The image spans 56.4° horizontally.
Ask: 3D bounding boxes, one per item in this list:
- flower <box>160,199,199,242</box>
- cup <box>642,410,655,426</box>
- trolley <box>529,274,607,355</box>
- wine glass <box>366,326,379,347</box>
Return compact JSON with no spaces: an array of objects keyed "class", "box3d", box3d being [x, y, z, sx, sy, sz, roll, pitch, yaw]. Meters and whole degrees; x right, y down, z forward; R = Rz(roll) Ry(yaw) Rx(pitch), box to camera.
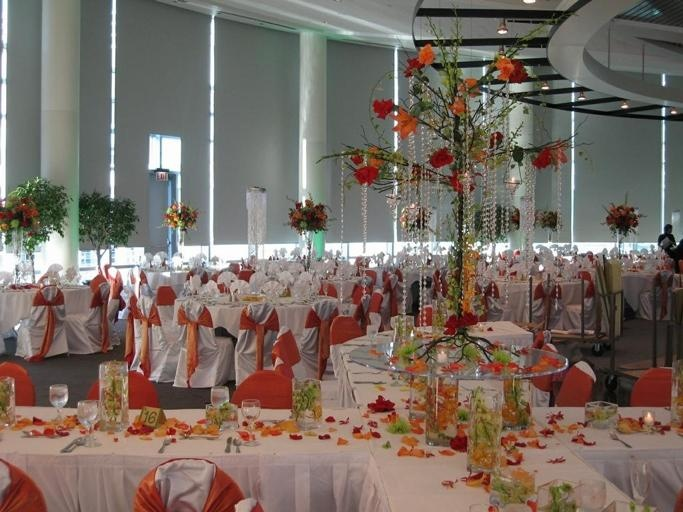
[{"class":"flower","box3d":[-2.939,-0.634,11.825,0.467,0.729,0.491,-1,1,20]},{"class":"cup","box3d":[1.744,0.938,3.646,0.057,0.080,0.063,-1,-6,4]},{"class":"trolley","box3d":[2.841,0.771,8.039,0.709,1.628,0.783,5,9,33]},{"class":"wine glass","box3d":[0.241,0.643,5.040,0.112,0.219,0.128,0,-4,-3]}]
